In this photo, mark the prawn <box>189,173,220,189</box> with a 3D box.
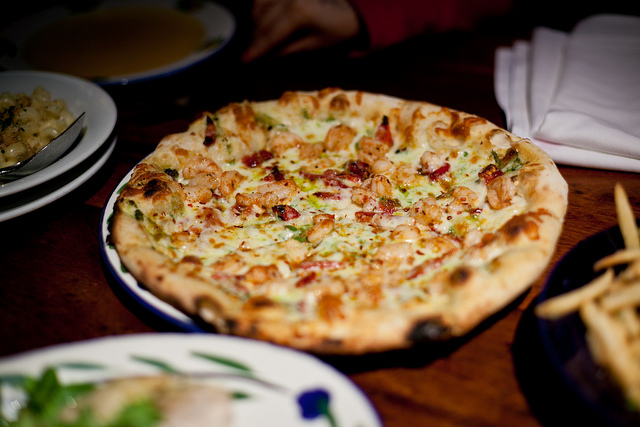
[{"bbox_3d":[-0.622,-0.176,2.881,0.105,0.033,0.097,-9,37,-9],"label":"prawn"}]

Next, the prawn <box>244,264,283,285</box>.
[{"bbox_3d":[-0.266,0.276,2.493,0.172,0.033,0.092,-18,59,-8],"label":"prawn"}]

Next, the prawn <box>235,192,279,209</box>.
[{"bbox_3d":[-0.331,-0.076,2.819,0.166,0.049,0.098,-5,39,0],"label":"prawn"}]

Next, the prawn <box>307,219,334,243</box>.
[{"bbox_3d":[-0.003,0.089,2.705,0.130,0.037,0.086,-40,73,-8],"label":"prawn"}]

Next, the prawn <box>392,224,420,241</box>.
[{"bbox_3d":[0.411,0.086,2.619,0.128,0.037,0.099,3,58,5],"label":"prawn"}]

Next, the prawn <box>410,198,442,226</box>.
[{"bbox_3d":[0.519,-0.008,2.687,0.142,0.046,0.148,-26,60,-13],"label":"prawn"}]

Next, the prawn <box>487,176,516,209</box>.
[{"bbox_3d":[0.887,-0.098,2.677,0.123,0.038,0.160,16,90,39],"label":"prawn"}]

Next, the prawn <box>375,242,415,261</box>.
[{"bbox_3d":[0.347,0.177,2.553,0.183,0.052,0.111,4,59,6],"label":"prawn"}]

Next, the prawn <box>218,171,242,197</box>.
[{"bbox_3d":[-0.487,-0.137,2.900,0.046,0.127,0.193,19,30,28],"label":"prawn"}]

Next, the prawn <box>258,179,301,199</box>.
[{"bbox_3d":[-0.220,-0.121,2.849,0.141,0.033,0.112,-1,31,19],"label":"prawn"}]

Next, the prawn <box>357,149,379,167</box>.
[{"bbox_3d":[0.256,-0.316,3.012,0.084,0.029,0.108,-35,51,-17],"label":"prawn"}]
